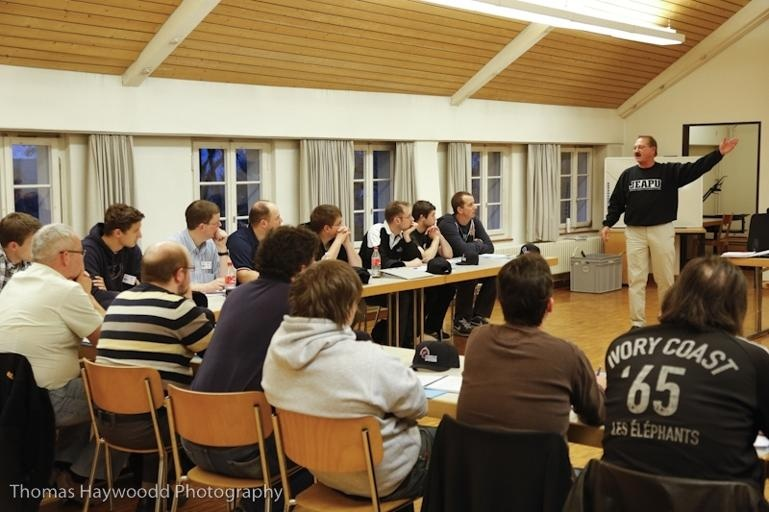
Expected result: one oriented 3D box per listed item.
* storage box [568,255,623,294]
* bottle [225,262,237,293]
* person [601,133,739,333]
[{"bbox_3d":[3.692,0.305,10.384,0.711,0.772,0.616,-1,2,-32],"label":"storage box"},{"bbox_3d":[-1.323,0.181,5.057,0.096,0.251,0.325,-2,3,-14],"label":"bottle"},{"bbox_3d":[3.321,-0.291,6.924,1.362,2.254,0.542,6,22,37],"label":"person"}]
